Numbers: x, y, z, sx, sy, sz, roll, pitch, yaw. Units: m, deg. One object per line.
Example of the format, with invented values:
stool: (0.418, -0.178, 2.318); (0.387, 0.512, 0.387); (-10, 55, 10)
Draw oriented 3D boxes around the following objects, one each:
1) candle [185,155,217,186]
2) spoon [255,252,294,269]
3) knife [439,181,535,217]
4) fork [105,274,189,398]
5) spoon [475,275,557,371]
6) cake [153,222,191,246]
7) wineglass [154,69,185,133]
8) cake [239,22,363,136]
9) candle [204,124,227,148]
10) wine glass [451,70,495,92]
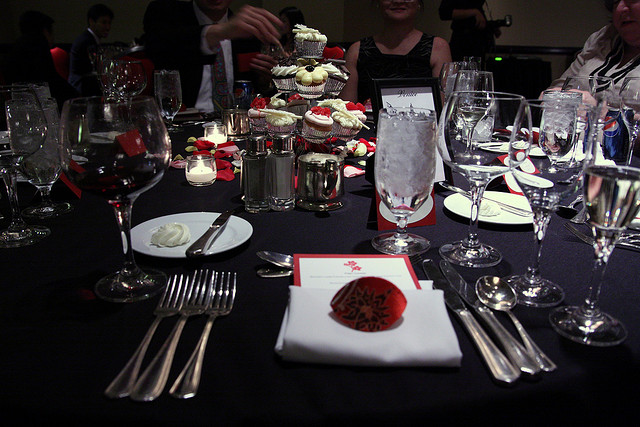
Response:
candle: (-0.429, -0.154, 1.585); (0.105, 0.104, 0.108); (5, 17, 8)
spoon: (-0.108, 0.105, 1.064); (0.122, 0.034, 0.018); (6, 58, 48)
knife: (0.475, -0.038, 1.273); (0.308, 0.016, 0.034); (21, 55, 40)
fork: (-0.325, 0.231, 0.885); (0.038, 0.040, 0.279); (1, 33, 12)
spoon: (0.352, 0.198, 0.825); (0.070, 0.043, 0.304); (-3, 15, 10)
cake: (-0.374, 0.055, 1.109); (0.064, 0.025, 0.067); (2, 26, -3)
wineglass: (-0.790, -0.587, 2.323); (0.123, 0.292, 0.123); (-4, 27, -16)
cake: (-0.022, -0.530, 1.710); (0.360, 0.358, 0.360); (-13, 36, -24)
candle: (-0.480, -0.365, 2.032); (0.117, 0.116, 0.119); (-3, 16, -18)
wine glass: (0.635, -0.552, 1.856); (0.091, 0.075, 0.187); (-10, 23, -27)
